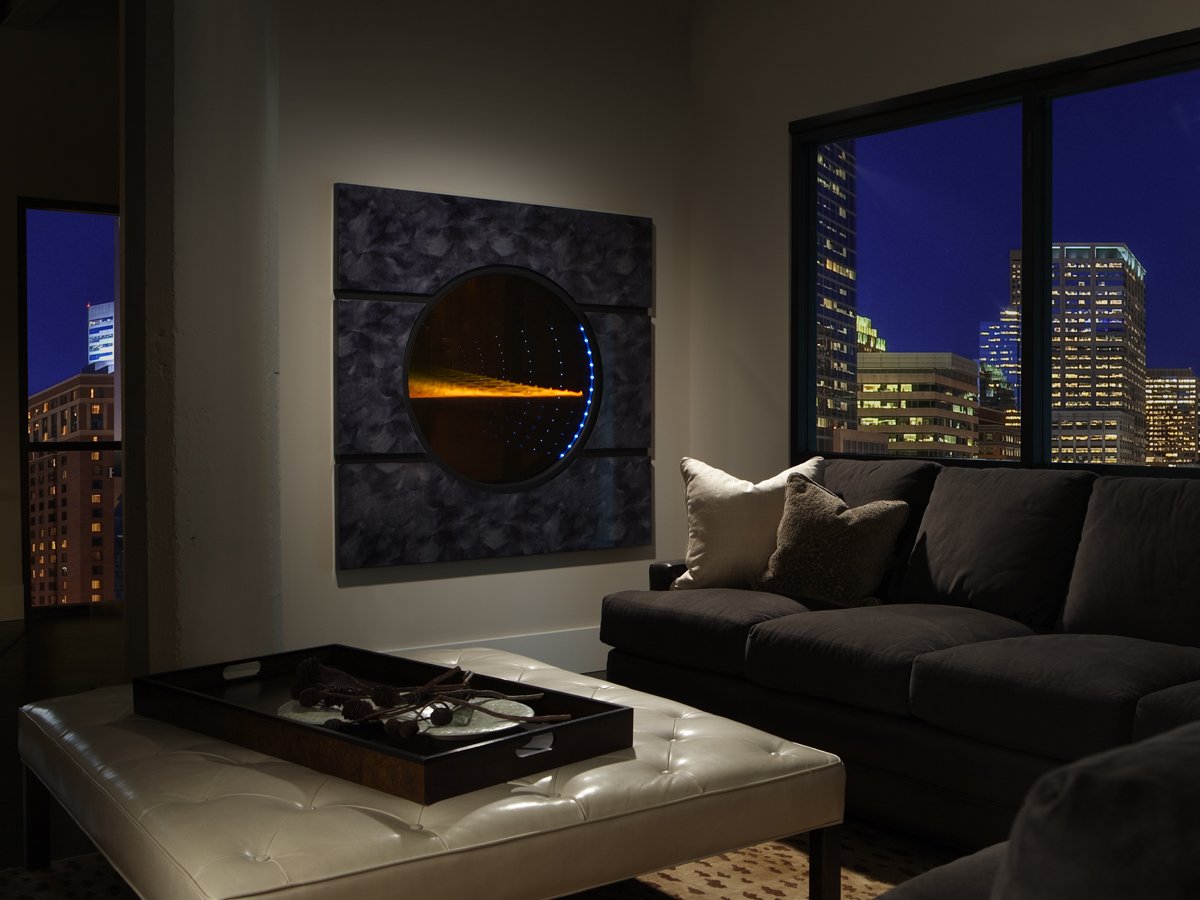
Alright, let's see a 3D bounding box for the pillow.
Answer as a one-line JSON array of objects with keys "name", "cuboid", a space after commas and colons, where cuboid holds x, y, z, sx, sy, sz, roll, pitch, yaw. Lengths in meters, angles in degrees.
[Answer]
[{"name": "pillow", "cuboid": [0.717, 0.352, 3.790, 0.622, 0.652, 0.197, 15, -9, 32]}]
